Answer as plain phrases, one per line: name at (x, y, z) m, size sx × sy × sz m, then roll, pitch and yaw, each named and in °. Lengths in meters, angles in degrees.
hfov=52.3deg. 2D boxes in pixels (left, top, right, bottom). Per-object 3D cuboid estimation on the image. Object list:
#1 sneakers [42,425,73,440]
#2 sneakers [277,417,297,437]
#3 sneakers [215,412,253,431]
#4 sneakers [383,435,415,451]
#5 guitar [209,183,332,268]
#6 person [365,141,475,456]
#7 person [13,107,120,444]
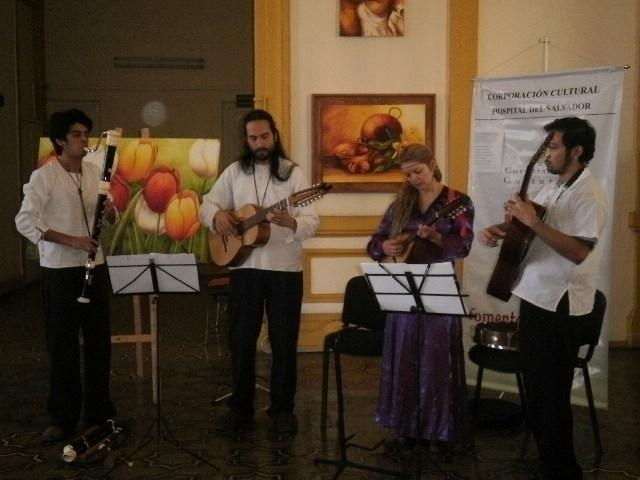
sneakers at (-1.844, 1.348, 4.581) m, size 0.180 × 0.083 × 0.085 m, roll 7°, pitch -2°, yaw -28°
sneakers at (-0.242, 1.329, 4.656) m, size 0.099 × 0.048 × 0.138 m, roll 2°, pitch 11°, yaw -7°
sneakers at (-0.634, 1.321, 4.733) m, size 0.224 × 0.159 × 0.123 m, roll 8°, pitch 3°, yaw -6°
sneakers at (0.536, 1.418, 4.510) m, size 0.145 × 0.060 × 0.175 m, roll 0°, pitch 2°, yaw 0°
guitar at (-0.408, -0.109, 4.678) m, size 0.951 × 0.624 × 0.319 m, roll 5°, pitch 10°, yaw 27°
person at (0.643, 0.416, 4.321) m, size 0.692 × 2.072 × 0.638 m, roll 3°, pitch 9°, yaw 18°
person at (-1.757, 0.240, 4.586) m, size 0.639 × 2.297 × 0.539 m, roll -5°, pitch 10°, yaw -30°
